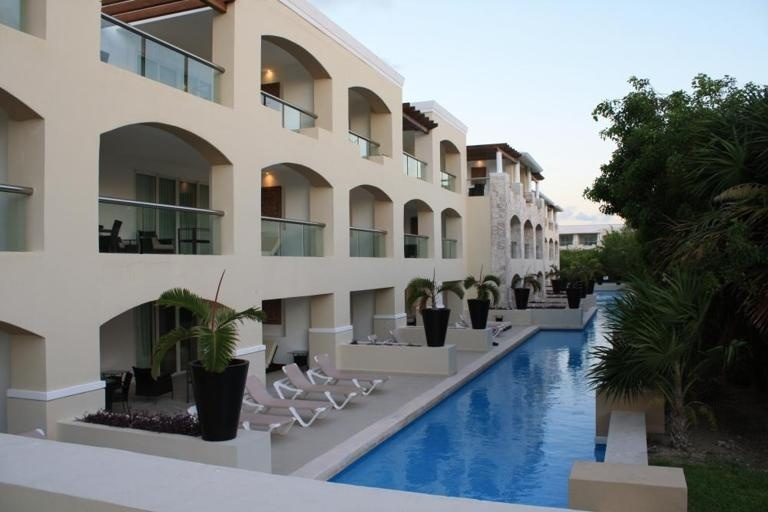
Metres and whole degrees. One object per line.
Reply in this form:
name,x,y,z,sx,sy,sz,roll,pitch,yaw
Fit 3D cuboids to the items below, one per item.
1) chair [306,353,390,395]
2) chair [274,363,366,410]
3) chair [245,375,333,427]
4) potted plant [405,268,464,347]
chair,-1.119,3.320,16.245,1.859,0.917,1.060,0,-3,17
chair,-1.784,3.390,15.017,1.819,0.947,1.156,2,-1,21
chair,-2.317,3.435,13.644,1.781,1.041,1.125,1,-2,19
potted plant,1.612,1.622,19.408,2.488,3.066,2.616,-1,-13,1
